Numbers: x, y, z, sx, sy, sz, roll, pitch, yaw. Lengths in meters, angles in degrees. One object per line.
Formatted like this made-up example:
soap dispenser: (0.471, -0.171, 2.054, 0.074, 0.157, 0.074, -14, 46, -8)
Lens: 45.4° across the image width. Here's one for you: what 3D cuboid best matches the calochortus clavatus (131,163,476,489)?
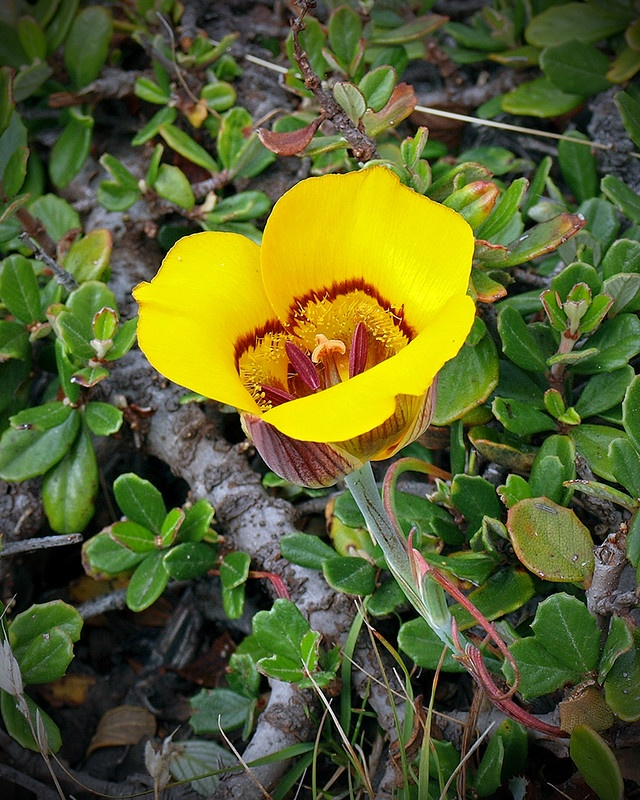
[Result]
calochortus clavatus: (0.000, -0.118, 1.344, 0.541, 0.408, 0.495, -31, 72, -11)
